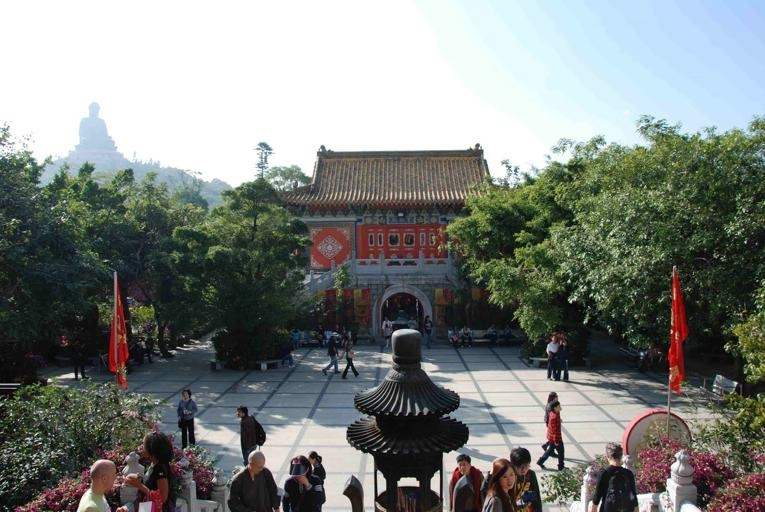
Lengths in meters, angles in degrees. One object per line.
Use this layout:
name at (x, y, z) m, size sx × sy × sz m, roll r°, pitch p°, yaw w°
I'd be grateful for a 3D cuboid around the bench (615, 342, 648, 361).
bench at (9.808, 3.745, 25.814) m, size 0.431 × 0.544 × 1.633 m, roll -5°, pitch -6°, yaw 5°

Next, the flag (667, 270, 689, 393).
flag at (7.326, 1.794, 16.444) m, size 0.439 × 3.107 × 1.439 m, roll -3°, pitch -7°, yaw 24°

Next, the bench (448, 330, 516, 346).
bench at (4.428, 3.587, 29.269) m, size 2.591 × 0.718 × 0.539 m, roll -1°, pitch -6°, yaw 8°

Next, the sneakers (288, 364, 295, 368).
sneakers at (-3.490, 4.158, 25.063) m, size 0.203 × 0.099 × 0.292 m, roll 12°, pitch -16°, yaw -44°

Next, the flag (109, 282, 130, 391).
flag at (-6.621, 1.807, 16.476) m, size 0.408 × 2.912 × 1.568 m, roll 2°, pitch -7°, yaw -22°

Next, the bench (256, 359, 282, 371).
bench at (-4.238, 4.065, 24.728) m, size 0.894 × 0.372 × 0.458 m, roll 2°, pitch -7°, yaw -17°

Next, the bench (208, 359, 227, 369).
bench at (-6.272, 4.072, 24.902) m, size 0.713 × 0.330 × 0.233 m, roll -2°, pitch -7°, yaw 14°

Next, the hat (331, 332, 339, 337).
hat at (-1.849, 3.022, 25.322) m, size 0.437 × 0.193 × 0.639 m, roll 2°, pitch -5°, yaw -6°

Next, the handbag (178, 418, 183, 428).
handbag at (-5.433, 4.386, 17.557) m, size 0.051 × 0.195 × 0.264 m, roll 3°, pitch -8°, yaw -27°

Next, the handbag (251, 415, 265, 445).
handbag at (-3.047, 4.415, 16.575) m, size 0.493 × 0.679 × 0.699 m, roll 2°, pitch -12°, yaw -17°

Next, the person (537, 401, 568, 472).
person at (4.238, 4.487, 16.691) m, size 0.665 × 1.671 × 0.649 m, roll -2°, pitch -7°, yaw 14°
